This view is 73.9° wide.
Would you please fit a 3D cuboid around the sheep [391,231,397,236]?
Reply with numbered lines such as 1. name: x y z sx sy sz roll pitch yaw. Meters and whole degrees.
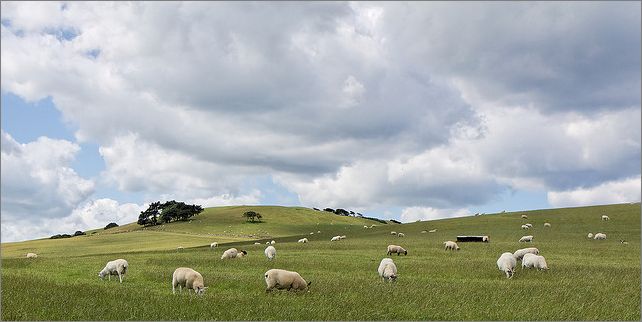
1. sheep: 19.216 19.148 112.298 1.548 0.655 0.683 1 0 5
